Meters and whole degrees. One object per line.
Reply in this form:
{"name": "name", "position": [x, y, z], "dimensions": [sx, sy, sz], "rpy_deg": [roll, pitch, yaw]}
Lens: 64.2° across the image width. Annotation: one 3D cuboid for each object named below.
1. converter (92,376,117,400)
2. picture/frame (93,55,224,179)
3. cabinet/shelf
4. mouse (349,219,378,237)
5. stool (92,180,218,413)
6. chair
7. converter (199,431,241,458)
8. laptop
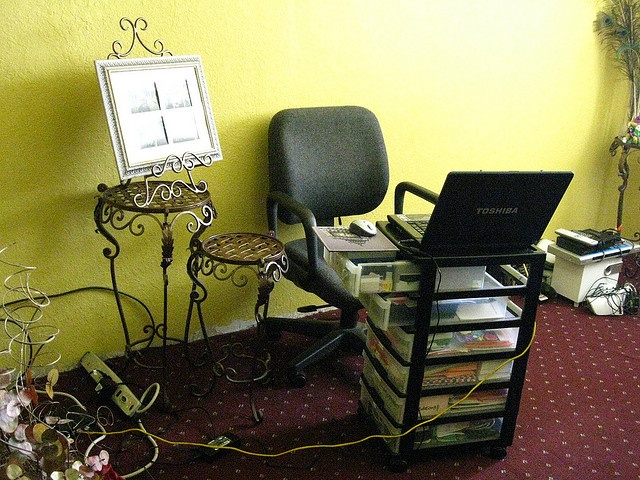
{"name": "converter", "position": [-0.936, 0.637, 2.229], "dimensions": [0.077, 0.084, 0.094], "rpy_deg": [9, 19, -36]}
{"name": "picture/frame", "position": [-0.675, -0.503, 2.063], "dimensions": [0.541, 0.514, 0.039], "rpy_deg": [-14, 5, -38]}
{"name": "cabinet/shelf", "position": [0.381, 0.314, 2.510], "dimensions": [0.880, 1.333, 0.849], "rpy_deg": [-5, 18, -13]}
{"name": "mouse", "position": [0.174, -0.048, 1.919], "dimensions": [0.083, 0.030, 0.060], "rpy_deg": [9, 15, 35]}
{"name": "stool", "position": [-0.695, 0.144, 2.317], "dimensions": [0.480, 0.972, 0.646], "rpy_deg": [-15, 28, -29]}
{"name": "chair", "position": [0.169, 0.026, 2.430], "dimensions": [0.765, 1.190, 0.729], "rpy_deg": [-16, 27, -38]}
{"name": "converter", "position": [-0.400, 0.817, 2.045], "dimensions": [0.163, 0.035, 0.096], "rpy_deg": [-17, 29, -33]}
{"name": "laptop", "position": [0.593, -0.104, 1.759], "dimensions": [0.363, 0.277, 0.385], "rpy_deg": [0, 16, -14]}
